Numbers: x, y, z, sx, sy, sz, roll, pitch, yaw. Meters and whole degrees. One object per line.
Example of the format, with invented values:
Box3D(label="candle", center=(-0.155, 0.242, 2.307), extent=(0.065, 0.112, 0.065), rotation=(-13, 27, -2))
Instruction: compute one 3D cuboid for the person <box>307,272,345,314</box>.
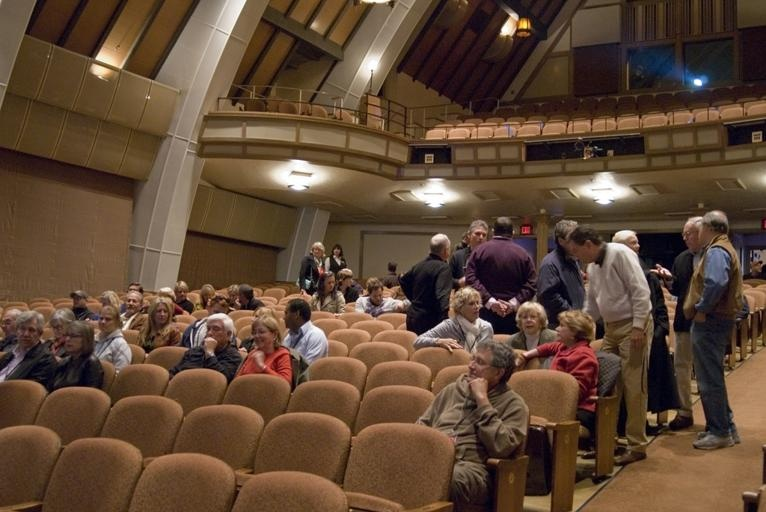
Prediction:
Box3D(label="person", center=(-0.740, 0.577, 7.717), extent=(0.561, 0.804, 0.526), rotation=(-1, -7, 0))

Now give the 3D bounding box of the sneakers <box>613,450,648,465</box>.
Box3D(label="sneakers", center=(1.975, 1.601, 4.226), extent=(0.278, 0.124, 0.099), rotation=(-3, -8, -14))

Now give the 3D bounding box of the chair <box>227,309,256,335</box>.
Box3D(label="chair", center=(-1.772, 0.822, 6.667), extent=(0.306, 0.442, 0.368), rotation=(2, -17, -12))

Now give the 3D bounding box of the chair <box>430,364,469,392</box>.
Box3D(label="chair", center=(0.499, 0.962, 4.112), extent=(0.255, 0.266, 0.198), rotation=(10, -18, -32))

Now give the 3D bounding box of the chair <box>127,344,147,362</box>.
Box3D(label="chair", center=(-2.518, 0.996, 5.339), extent=(0.151, 0.188, 0.163), rotation=(2, -18, -13))

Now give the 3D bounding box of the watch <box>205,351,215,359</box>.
Box3D(label="watch", center=(-1.582, 0.896, 4.762), extent=(0.056, 0.046, 0.058), rotation=(-1, 2, -23))

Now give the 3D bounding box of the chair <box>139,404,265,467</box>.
Box3D(label="chair", center=(-1.103, 1.191, 3.333), extent=(0.405, 0.501, 0.421), rotation=(5, -30, 14))

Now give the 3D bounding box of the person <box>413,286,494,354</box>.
Box3D(label="person", center=(0.690, 0.614, 5.026), extent=(0.671, 0.384, 1.010), rotation=(1, 27, 11))

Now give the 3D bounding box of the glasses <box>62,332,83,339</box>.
Box3D(label="glasses", center=(-2.772, 0.706, 4.650), extent=(0.137, 0.063, 0.025), rotation=(7, 10, 1))

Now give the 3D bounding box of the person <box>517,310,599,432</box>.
Box3D(label="person", center=(1.337, 0.887, 3.969), extent=(0.448, 0.849, 0.400), rotation=(15, -27, 1))

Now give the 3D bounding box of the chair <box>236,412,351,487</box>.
Box3D(label="chair", center=(-0.518, 1.124, 3.288), extent=(0.514, 0.424, 0.270), rotation=(11, 19, -17))

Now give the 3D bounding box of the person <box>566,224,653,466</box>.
Box3D(label="person", center=(1.845, 0.678, 4.432), extent=(0.829, 1.869, 0.540), rotation=(-9, -14, 39))

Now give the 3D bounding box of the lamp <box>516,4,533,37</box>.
Box3D(label="lamp", center=(4.864, -7.866, 18.062), extent=(0.486, 0.809, 1.551), rotation=(9, 11, 16))

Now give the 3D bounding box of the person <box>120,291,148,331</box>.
Box3D(label="person", center=(-3.397, 0.681, 6.977), extent=(0.376, 0.329, 0.807), rotation=(14, -20, -28))

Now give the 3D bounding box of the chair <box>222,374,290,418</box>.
Box3D(label="chair", center=(-0.952, 1.098, 4.110), extent=(0.320, 0.462, 0.375), rotation=(1, -32, 13))

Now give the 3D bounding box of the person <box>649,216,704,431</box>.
Box3D(label="person", center=(2.939, 0.594, 5.036), extent=(0.497, 1.883, 0.506), rotation=(1, 22, 27))

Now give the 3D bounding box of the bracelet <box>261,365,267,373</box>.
Box3D(label="bracelet", center=(-1.012, 0.964, 4.412), extent=(0.012, 0.048, 0.047), rotation=(-10, -32, -32))

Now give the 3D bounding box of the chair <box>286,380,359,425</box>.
Box3D(label="chair", center=(-0.422, 1.058, 3.879), extent=(0.314, 0.470, 0.395), rotation=(-1, -30, 15))

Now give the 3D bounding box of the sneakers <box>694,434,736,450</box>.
Box3D(label="sneakers", center=(2.762, 1.542, 4.404), extent=(0.338, 0.175, 0.132), rotation=(0, -9, -4))

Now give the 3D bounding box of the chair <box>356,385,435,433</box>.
Box3D(label="chair", center=(0.028, 1.072, 3.932), extent=(0.659, 0.258, 0.532), rotation=(-2, 1, -20))

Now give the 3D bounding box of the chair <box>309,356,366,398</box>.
Box3D(label="chair", center=(-0.384, 1.013, 4.604), extent=(0.372, 0.362, 0.326), rotation=(-2, -19, 18))
